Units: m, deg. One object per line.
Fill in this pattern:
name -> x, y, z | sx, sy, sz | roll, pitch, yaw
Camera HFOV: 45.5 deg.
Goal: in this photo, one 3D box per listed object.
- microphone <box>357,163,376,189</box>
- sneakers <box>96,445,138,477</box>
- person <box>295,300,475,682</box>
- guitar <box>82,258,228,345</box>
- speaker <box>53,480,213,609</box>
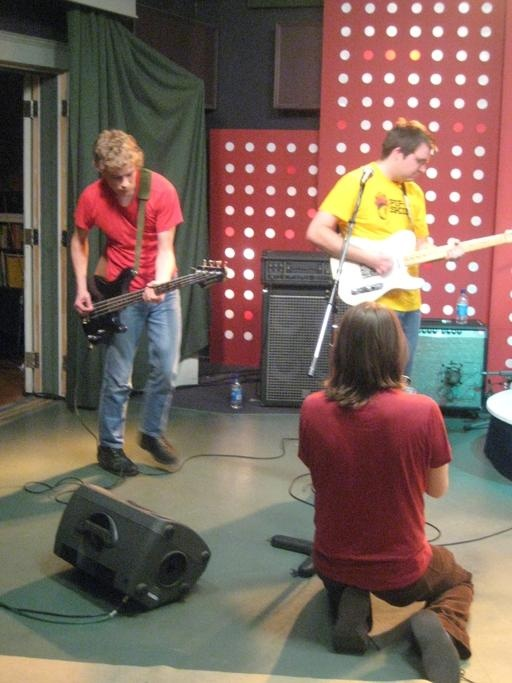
microphone -> 0.421, -0.645, 2.375 | 0.068, 0.092, 0.024 | 9, 14, -38
sneakers -> -0.623, 0.529, 2.761 | 0.236, 0.098, 0.088 | 11, 13, 29
person -> 0.336, 0.336, 1.473 | 0.468, 0.848, 0.262 | 1, 10, 0
guitar -> -0.438, -0.159, 2.609 | 0.606, 0.375, 0.299 | -1, 9, -14
speaker -> -0.356, 0.586, 1.816 | 0.301, 0.283, 0.415 | -8, 12, -44
